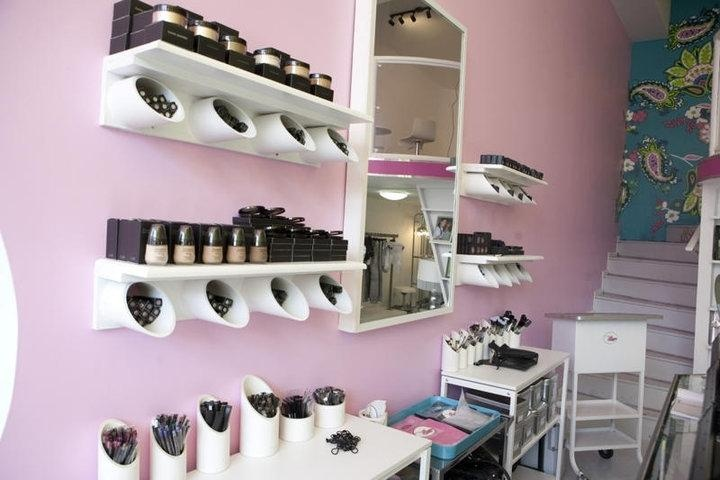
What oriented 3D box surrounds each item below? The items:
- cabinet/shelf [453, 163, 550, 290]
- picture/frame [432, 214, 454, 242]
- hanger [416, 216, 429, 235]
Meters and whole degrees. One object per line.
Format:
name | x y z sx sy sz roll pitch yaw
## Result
cabinet/shelf | 1.025 -0.104 3.955 0.363 0.913 1.065 -3 -4 31
picture/frame | 0.532 -0.073 3.404 0.036 0.146 0.158 13 8 33
hanger | 0.366 -0.089 3.179 0.068 0.108 0.107 -3 -1 39
